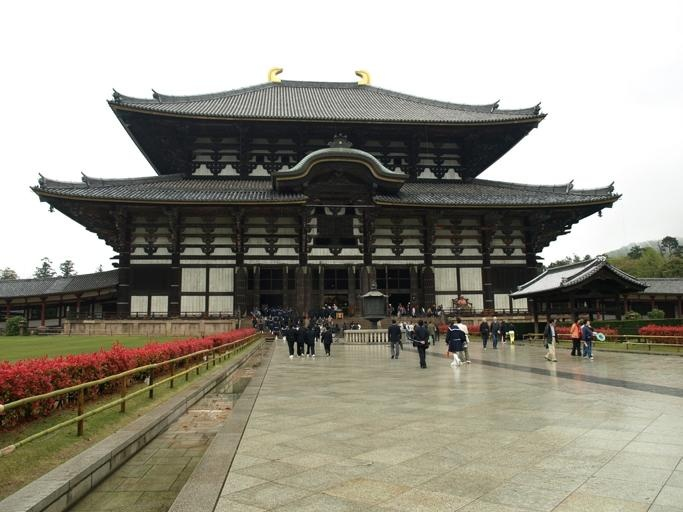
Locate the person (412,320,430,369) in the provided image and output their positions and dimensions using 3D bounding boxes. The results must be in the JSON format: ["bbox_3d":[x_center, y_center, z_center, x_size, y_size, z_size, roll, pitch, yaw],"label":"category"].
[{"bbox_3d":[2.905,2.940,19.859,0.671,1.320,0.504,-2,22,8],"label":"person"}]

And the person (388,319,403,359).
[{"bbox_3d":[2.292,3.625,23.403,0.456,1.377,1.140,-3,-9,2],"label":"person"}]
